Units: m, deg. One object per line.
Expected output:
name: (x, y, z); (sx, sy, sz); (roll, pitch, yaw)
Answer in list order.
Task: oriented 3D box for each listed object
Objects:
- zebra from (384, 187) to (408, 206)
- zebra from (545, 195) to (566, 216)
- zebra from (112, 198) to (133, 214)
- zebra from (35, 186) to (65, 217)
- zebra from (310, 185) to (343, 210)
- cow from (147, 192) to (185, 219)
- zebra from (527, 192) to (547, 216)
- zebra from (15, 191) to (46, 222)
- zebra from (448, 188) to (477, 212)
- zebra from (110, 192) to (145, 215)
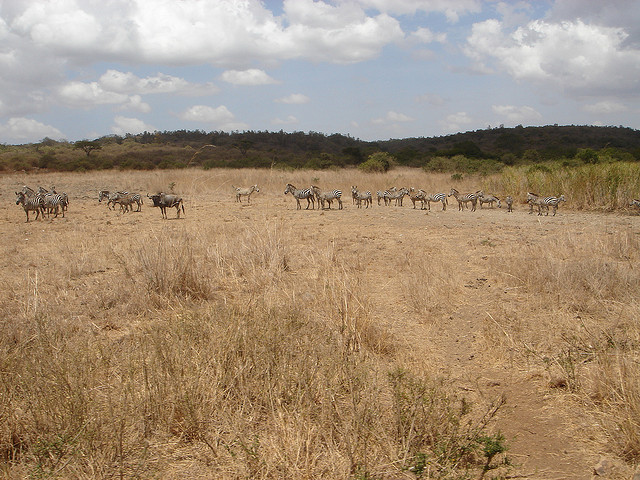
zebra: (2.826, -1.578, 22.338); (0.917, 0.593, 1.253); (-3, 4, -20)
zebra: (7.195, -1.047, 18.266); (0.557, 0.561, 1.982); (0, 4, 21)
zebra: (-6.572, -1.134, 19.912); (0.615, 0.518, 1.253); (-2, 4, -18)
zebra: (-8.119, -1.183, 18.167); (1.148, 0.824, 0.344); (0, 5, 6)
zebra: (0.226, -1.530, 22.089); (1.144, 0.789, 3.007); (-1, 4, 0)
cow: (-4.722, -1.049, 18.472); (0.807, 0.771, 1.427); (-3, 5, -30)
zebra: (6.790, -1.149, 18.609); (0.405, 0.625, 0.928); (-1, 4, 1)
zebra: (-8.564, -0.977, 17.557); (0.337, 0.814, 1.124); (2, 2, 17)
zebra: (4.959, -1.349, 20.565); (0.862, 0.728, 2.685); (0, 4, 13)
zebra: (-6.577, -1.237, 20.333); (1.033, 0.711, 2.405); (-2, 4, -18)
